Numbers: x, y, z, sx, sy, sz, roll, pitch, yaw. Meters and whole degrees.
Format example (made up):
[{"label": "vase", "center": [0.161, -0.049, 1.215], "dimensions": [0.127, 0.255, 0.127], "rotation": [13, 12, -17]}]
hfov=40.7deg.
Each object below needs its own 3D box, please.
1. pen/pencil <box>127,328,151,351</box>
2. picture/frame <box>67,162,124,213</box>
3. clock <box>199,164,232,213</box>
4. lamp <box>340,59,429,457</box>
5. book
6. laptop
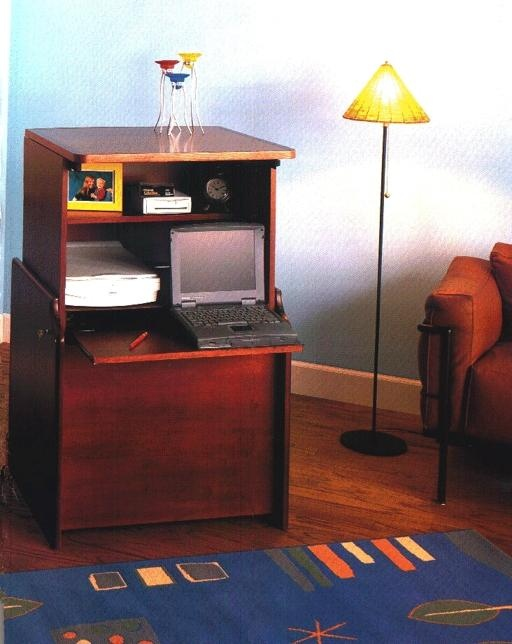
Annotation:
[{"label": "pen/pencil", "center": [-0.318, 0.048, 1.861], "dimensions": [0.015, 0.015, 0.086], "rotation": [40, 28, -2]}, {"label": "picture/frame", "center": [-0.459, -0.376, 1.943], "dimensions": [0.194, 0.136, 0.012], "rotation": [0, 3, -6]}, {"label": "clock", "center": [-0.119, -0.408, 2.136], "dimensions": [0.121, 0.095, 0.027], "rotation": [4, 33, 27]}, {"label": "lamp", "center": [0.497, -0.270, 2.837], "dimensions": [0.355, 1.521, 0.574], "rotation": [4, 13, 7]}, {"label": "book", "center": [-0.446, -0.143, 2.067], "dimensions": [0.268, 0.160, 0.390], "rotation": [-2, 13, -18]}, {"label": "laptop", "center": [-0.067, -0.110, 1.927], "dimensions": [0.334, 0.243, 0.371], "rotation": [-1, 20, -11]}]
